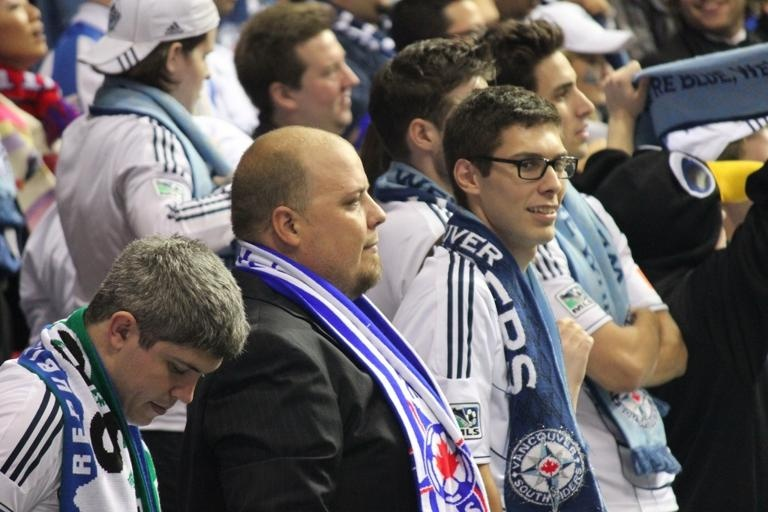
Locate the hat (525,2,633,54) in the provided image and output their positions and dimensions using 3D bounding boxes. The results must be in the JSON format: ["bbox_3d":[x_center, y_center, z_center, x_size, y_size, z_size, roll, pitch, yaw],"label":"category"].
[{"bbox_3d":[1.567,-1.788,9.521,0.780,0.356,0.555,8,21,18],"label":"hat"}]
